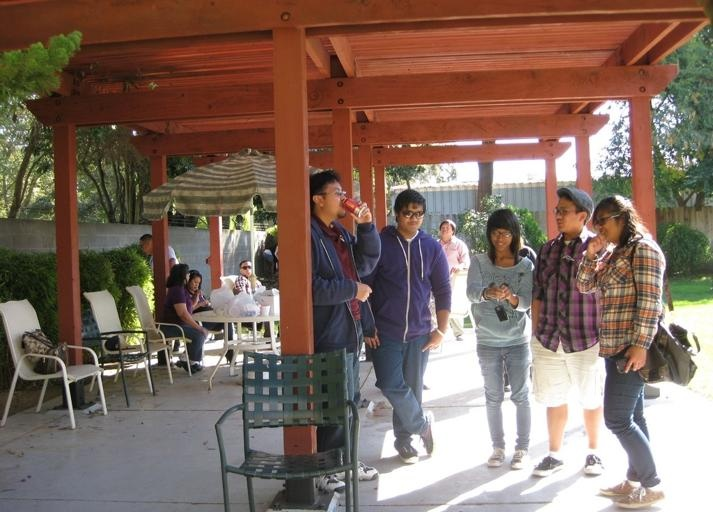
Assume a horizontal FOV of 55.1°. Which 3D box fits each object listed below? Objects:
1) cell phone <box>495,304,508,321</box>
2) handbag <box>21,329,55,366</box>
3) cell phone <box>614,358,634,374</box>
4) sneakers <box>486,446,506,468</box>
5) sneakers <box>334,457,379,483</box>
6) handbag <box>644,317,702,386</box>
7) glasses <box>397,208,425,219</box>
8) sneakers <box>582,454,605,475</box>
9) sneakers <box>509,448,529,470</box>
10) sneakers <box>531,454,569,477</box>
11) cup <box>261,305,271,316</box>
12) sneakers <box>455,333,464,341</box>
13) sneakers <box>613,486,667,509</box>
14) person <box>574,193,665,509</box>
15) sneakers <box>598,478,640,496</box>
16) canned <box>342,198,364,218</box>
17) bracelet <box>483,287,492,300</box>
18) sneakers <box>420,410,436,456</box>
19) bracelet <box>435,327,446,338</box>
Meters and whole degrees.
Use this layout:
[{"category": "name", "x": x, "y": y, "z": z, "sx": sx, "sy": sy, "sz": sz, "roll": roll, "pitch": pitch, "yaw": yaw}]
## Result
[{"category": "cell phone", "x": 1.202, "y": 0.475, "z": 5.685, "sx": 0.084, "sy": 0.126, "sz": 0.032, "roll": -25, "pitch": 1, "yaw": 15}, {"category": "handbag", "x": -3.235, "y": 0.939, "z": 6.950, "sx": 0.315, "sy": 0.358, "sz": 0.374, "roll": -2, "pitch": 0, "yaw": 4}, {"category": "cell phone", "x": 1.973, "y": 0.812, "z": 5.051, "sx": 0.136, "sy": 0.123, "sz": 0.065, "roll": -2, "pitch": 0, "yaw": 20}, {"category": "sneakers", "x": 1.198, "y": 1.733, "z": 5.853, "sx": 0.095, "sy": 0.112, "sz": 0.268, "roll": -4, "pitch": -13, "yaw": 18}, {"category": "sneakers", "x": 0.008, "y": 1.766, "z": 5.656, "sx": 0.410, "sy": 0.195, "sz": 0.156, "roll": 0, "pitch": 0, "yaw": -7}, {"category": "handbag", "x": 2.401, "y": 0.758, "z": 5.269, "sx": 0.414, "sy": 0.658, "sz": 0.586, "roll": -3, "pitch": -11, "yaw": 37}, {"category": "glasses", "x": 0.496, "y": -0.353, "z": 5.834, "sx": 0.235, "sy": 0.078, "sz": 0.106, "roll": -2, "pitch": 0, "yaw": -25}, {"category": "sneakers", "x": 1.960, "y": 1.727, "z": 5.621, "sx": 0.116, "sy": 0.124, "sz": 0.175, "roll": 3, "pitch": 4, "yaw": 13}, {"category": "sneakers", "x": 1.384, "y": 1.718, "z": 5.776, "sx": 0.163, "sy": 0.164, "sz": 0.103, "roll": -2, "pitch": 0, "yaw": 0}, {"category": "sneakers", "x": 1.592, "y": 1.742, "z": 5.706, "sx": 0.318, "sy": 0.149, "sz": 0.111, "roll": -15, "pitch": -10, "yaw": -25}, {"category": "cup", "x": -1.050, "y": 0.650, "z": 7.933, "sx": 0.100, "sy": 0.084, "sz": 0.096, "roll": 0, "pitch": 0, "yaw": 0}, {"category": "sneakers", "x": 1.591, "y": 1.249, "z": 10.532, "sx": 0.146, "sy": 0.143, "sz": 0.124, "roll": 1, "pitch": 12, "yaw": 1}, {"category": "sneakers", "x": 2.139, "y": 1.830, "z": 5.228, "sx": 0.398, "sy": 0.189, "sz": 0.150, "roll": -6, "pitch": -6, "yaw": 1}, {"category": "person", "x": 2.032, "y": 0.723, "z": 5.220, "sx": 0.607, "sy": 2.306, "sz": 0.426, "roll": -2, "pitch": 0, "yaw": 30}, {"category": "sneakers", "x": 2.045, "y": 1.808, "z": 5.371, "sx": 0.313, "sy": 0.139, "sz": 0.119, "roll": -2, "pitch": -7, "yaw": 18}, {"category": "canned", "x": -0.037, "y": -0.385, "z": 5.388, "sx": 0.195, "sy": 0.155, "sz": 0.097, "roll": -2, "pitch": 0, "yaw": 42}, {"category": "bracelet", "x": 1.090, "y": 0.323, "z": 5.691, "sx": 0.070, "sy": 0.099, "sz": 0.214, "roll": -2, "pitch": 0, "yaw": 11}, {"category": "sneakers", "x": 0.628, "y": 1.543, "z": 6.000, "sx": 0.150, "sy": 0.397, "sz": 0.128, "roll": -3, "pitch": 16, "yaw": 9}, {"category": "bracelet", "x": 0.724, "y": 0.651, "z": 5.850, "sx": 0.075, "sy": 0.074, "sz": 0.137, "roll": -2, "pitch": 1, "yaw": 44}]
